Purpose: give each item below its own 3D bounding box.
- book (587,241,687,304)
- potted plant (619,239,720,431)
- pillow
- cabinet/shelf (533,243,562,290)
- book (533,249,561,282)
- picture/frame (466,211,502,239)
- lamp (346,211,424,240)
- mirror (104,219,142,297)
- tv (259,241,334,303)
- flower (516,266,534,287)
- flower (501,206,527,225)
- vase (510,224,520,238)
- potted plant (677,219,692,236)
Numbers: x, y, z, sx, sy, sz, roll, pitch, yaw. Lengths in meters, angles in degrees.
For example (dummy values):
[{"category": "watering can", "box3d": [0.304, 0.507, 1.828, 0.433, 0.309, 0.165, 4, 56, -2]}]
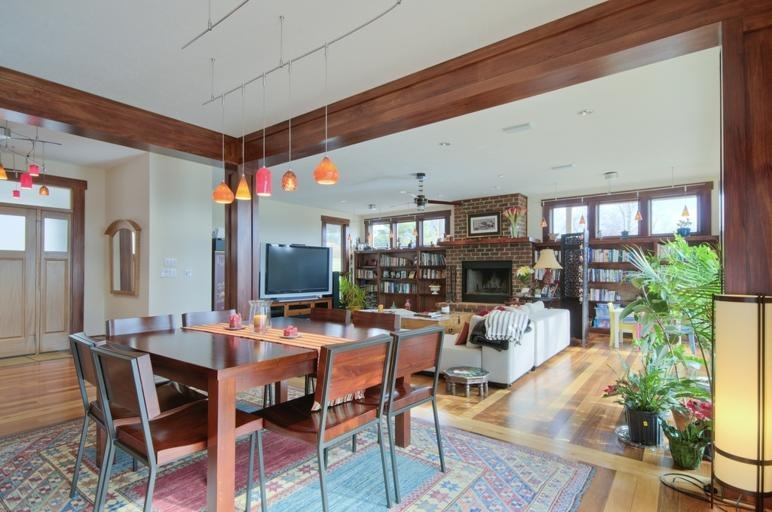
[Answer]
[{"category": "book", "box3d": [3.257, 0.214, 6.552, 1.114, 0.933, 0.158, -3, -8, 34]}, {"category": "potted plant", "box3d": [2.583, 0.576, 4.329, 0.750, 1.411, 0.663, -1, 4, 43]}, {"category": "pillow", "box3d": [1.407, 0.767, 5.836, 0.647, 0.226, 0.777, -8, 7, 30]}, {"category": "cabinet/shelf", "box3d": [2.939, 0.238, 9.121, 0.630, 0.780, 0.613, -5, -1, 19]}, {"category": "book", "box3d": [2.890, 0.120, 8.930, 0.479, 0.496, 0.457, -1, -1, -33]}, {"category": "picture/frame", "box3d": [2.003, -0.639, 10.078, 0.634, 0.445, 0.026, 0, -4, 40]}, {"category": "lamp", "box3d": [-0.162, -0.741, 12.406, 1.499, 0.791, 0.428, 4, 13, 19]}, {"category": "mirror", "box3d": [-3.652, 0.023, 6.909, 1.151, 1.153, 0.200, 2, 4, 44]}, {"category": "tv", "box3d": [-1.630, 0.290, 9.292, 1.729, 1.073, 0.185, -1, 0, 30]}, {"category": "flower", "box3d": [2.600, 0.372, 9.465, 0.370, 0.435, 0.433, -1, 0, 14]}, {"category": "flower", "box3d": [2.465, -0.781, 9.639, 0.376, 0.366, 0.380, -2, -2, 38]}, {"category": "vase", "box3d": [2.463, -0.489, 9.540, 0.197, 0.255, 0.452, 4, 12, 18]}, {"category": "potted plant", "box3d": [4.947, -0.464, 8.269, 0.211, 0.253, 0.369, 7, 13, 29]}]
